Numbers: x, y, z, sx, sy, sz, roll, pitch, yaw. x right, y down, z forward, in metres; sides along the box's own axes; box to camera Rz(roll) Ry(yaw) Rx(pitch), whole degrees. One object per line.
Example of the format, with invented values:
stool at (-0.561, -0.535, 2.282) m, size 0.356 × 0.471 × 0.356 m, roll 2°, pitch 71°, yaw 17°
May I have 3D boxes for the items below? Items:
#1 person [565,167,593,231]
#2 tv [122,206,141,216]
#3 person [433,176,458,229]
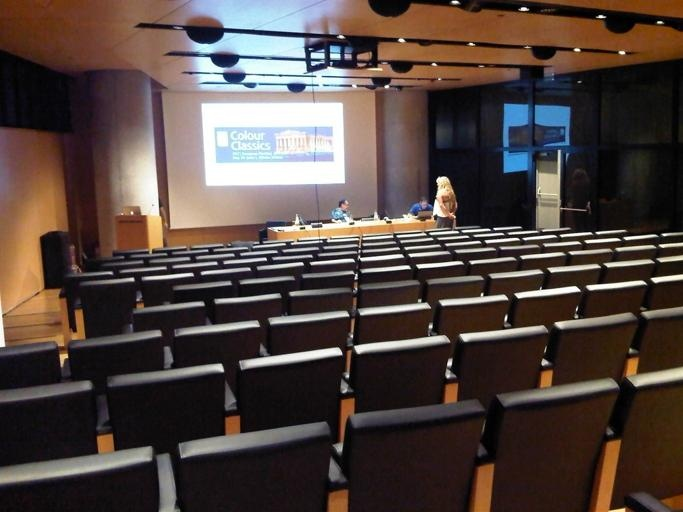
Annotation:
person at (5.271, -1.254, 12.193) m, size 0.180 × 1.375 × 0.590 m, roll -8°, pitch 12°, yaw -24°
tv at (-3.754, -0.808, 9.873) m, size 0.290 × 0.137 × 0.742 m, roll -9°, pitch 12°, yaw -21°
person at (2.304, -0.956, 12.206) m, size 0.400 × 1.589 × 0.544 m, roll 7°, pitch 19°, yaw 25°
